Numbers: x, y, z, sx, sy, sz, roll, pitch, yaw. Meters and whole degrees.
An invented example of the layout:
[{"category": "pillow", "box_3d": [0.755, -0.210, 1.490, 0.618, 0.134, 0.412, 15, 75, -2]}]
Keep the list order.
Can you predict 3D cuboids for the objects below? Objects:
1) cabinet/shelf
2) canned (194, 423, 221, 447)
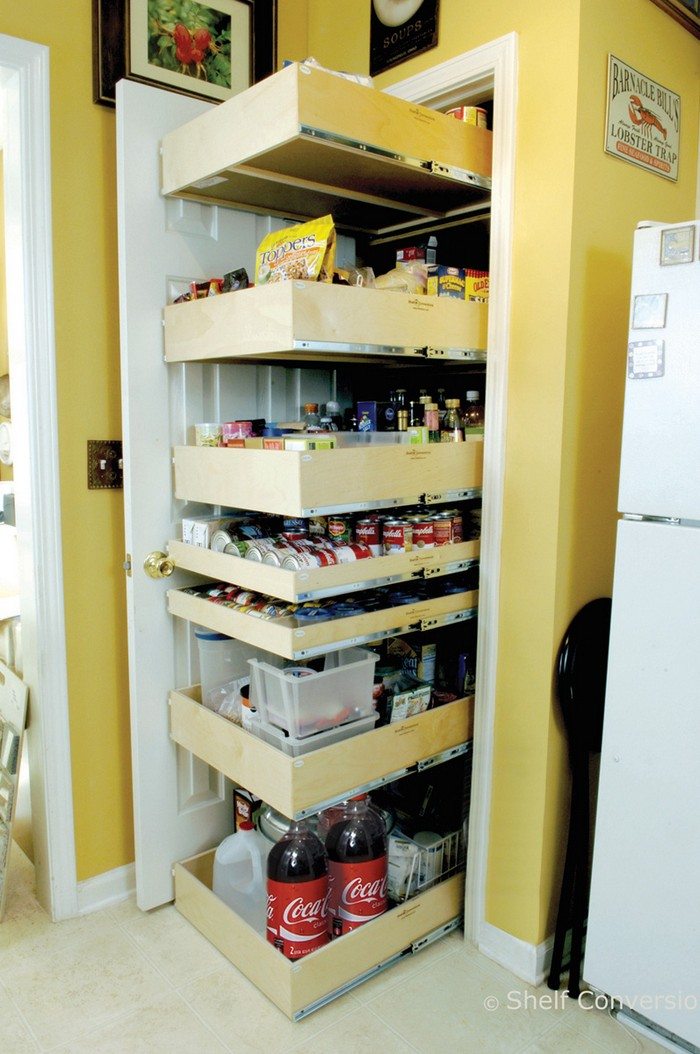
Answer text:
[{"category": "cabinet/shelf", "box_3d": [-0.021, 0.015, 1.824, 0.691, 1.842, 0.616, -4, 6, -39]}, {"category": "canned", "box_3d": [-0.308, -0.194, 1.781, 0.061, 0.062, 0.048, 8, 11, 37]}]
